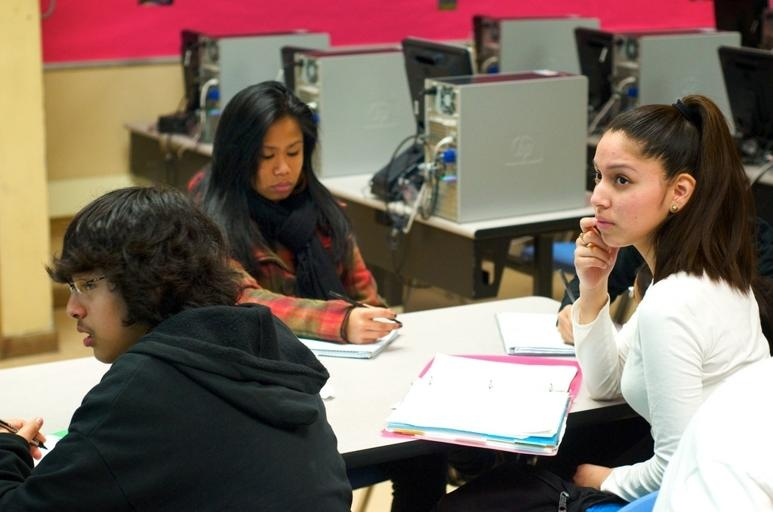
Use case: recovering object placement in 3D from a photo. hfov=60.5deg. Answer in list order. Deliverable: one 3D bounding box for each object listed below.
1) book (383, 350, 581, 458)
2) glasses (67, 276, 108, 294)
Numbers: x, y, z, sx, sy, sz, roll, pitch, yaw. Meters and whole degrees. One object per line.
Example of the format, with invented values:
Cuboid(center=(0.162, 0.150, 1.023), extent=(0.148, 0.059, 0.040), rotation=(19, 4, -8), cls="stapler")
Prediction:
Cuboid(center=(0.240, 0.362, 1.607), extent=(0.319, 0.045, 0.324), rotation=(4, 28, 22), cls="book")
Cuboid(center=(-0.548, 0.051, 1.200), extent=(0.047, 0.014, 0.044), rotation=(-14, 6, -39), cls="glasses")
